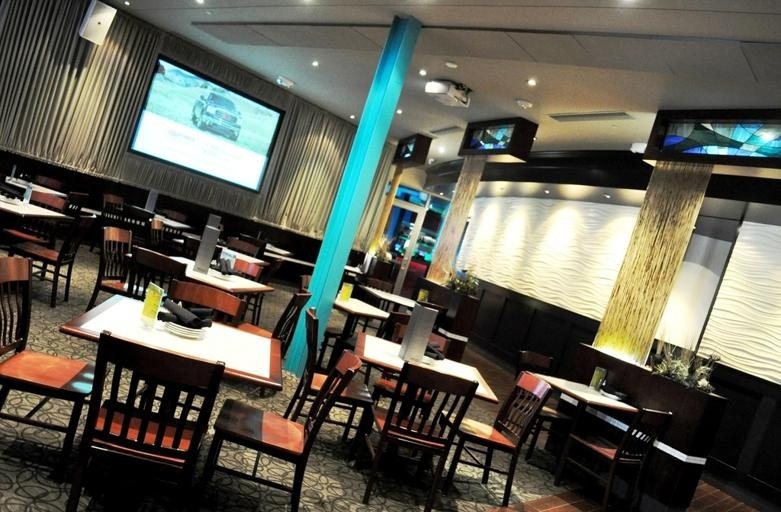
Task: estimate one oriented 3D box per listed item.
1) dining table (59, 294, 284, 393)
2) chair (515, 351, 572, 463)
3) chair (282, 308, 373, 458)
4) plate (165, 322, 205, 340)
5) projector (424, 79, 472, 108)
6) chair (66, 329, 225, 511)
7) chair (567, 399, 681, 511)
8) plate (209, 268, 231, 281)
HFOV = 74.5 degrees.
[{"bbox_3d":[-1.584,0.670,4.159,1.361,0.289,0.888,24,4,-8],"label":"dining table"},{"bbox_3d":[1.890,1.873,6.473,0.710,1.134,0.716,19,1,-39],"label":"chair"},{"bbox_3d":[-0.584,1.230,5.147,0.829,0.944,0.737,12,15,-3],"label":"chair"},{"bbox_3d":[-1.632,0.564,4.100,0.189,0.053,0.188,8,-1,26],"label":"plate"},{"bbox_3d":[0.965,-2.573,8.174,0.458,0.201,0.600,3,-6,38],"label":"projector"},{"bbox_3d":[-1.832,1.231,3.910,0.840,1.133,1.128,14,2,-14],"label":"chair"},{"bbox_3d":[2.543,2.202,5.841,0.848,1.286,0.906,16,3,38],"label":"chair"},{"bbox_3d":[-1.990,0.217,5.899,0.177,0.050,0.170,12,3,-34],"label":"plate"}]
